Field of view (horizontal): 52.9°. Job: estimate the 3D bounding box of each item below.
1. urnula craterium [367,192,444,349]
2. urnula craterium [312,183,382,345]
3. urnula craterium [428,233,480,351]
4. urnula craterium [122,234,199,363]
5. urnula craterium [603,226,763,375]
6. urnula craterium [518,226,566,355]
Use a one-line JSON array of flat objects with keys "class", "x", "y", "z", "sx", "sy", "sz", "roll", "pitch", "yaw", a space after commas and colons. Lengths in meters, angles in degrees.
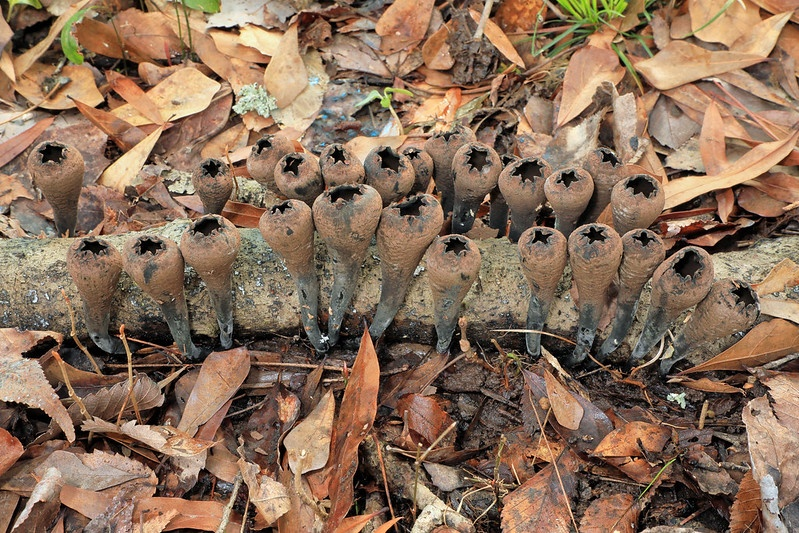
[{"class": "urnula craterium", "x": 0.022, "y": -0.003, "z": 3.661, "sx": 0.282, "sy": 0.803, "sz": 0.314, "roll": 20, "pitch": 42, "yaw": 12}, {"class": "urnula craterium", "x": -0.274, "y": -0.017, "z": 3.725, "sx": 0.345, "sy": 0.818, "sz": 0.238, "roll": -33, "pitch": 59, "yaw": -27}, {"class": "urnula craterium", "x": 0.223, "y": 0.120, "z": 3.693, "sx": 0.201, "sy": 0.639, "sz": 0.210, "roll": -31, "pitch": 58, "yaw": -26}, {"class": "urnula craterium", "x": -1.093, "y": 0.134, "z": 3.691, "sx": 0.196, "sy": 0.638, "sz": 0.188, "roll": -24, "pitch": 62, "yaw": -20}, {"class": "urnula craterium", "x": 1.271, "y": 0.185, "z": 3.648, "sx": 0.261, "sy": 0.631, "sz": 0.352, "roll": -32, "pitch": 73, "yaw": -34}, {"class": "urnula craterium", "x": 0.659, "y": 0.144, "z": 3.724, "sx": 0.234, "sy": 0.652, "sz": 0.209, "roll": -10, "pitch": 35, "yaw": -9}]
